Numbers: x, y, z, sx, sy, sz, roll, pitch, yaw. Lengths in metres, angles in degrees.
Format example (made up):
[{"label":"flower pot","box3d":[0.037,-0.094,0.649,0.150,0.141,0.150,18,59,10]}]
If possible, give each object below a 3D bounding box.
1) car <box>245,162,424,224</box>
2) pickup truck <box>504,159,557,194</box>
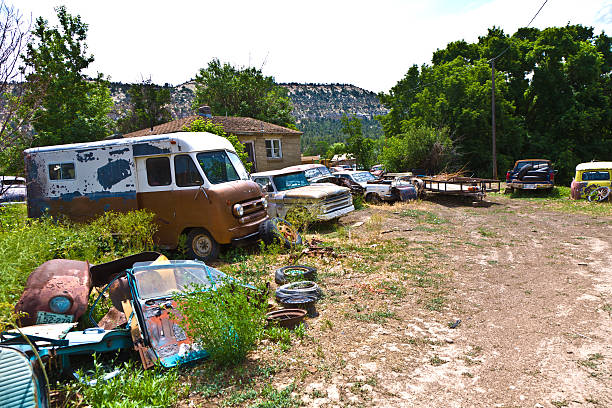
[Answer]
[{"label":"car","box3d":[-0.345,-0.334,17.347,3.261,1.596,2.110,0,12,28]},{"label":"pickup truck","box3d":[12.284,-1.578,24.699,1.603,1.221,2.840,1,10,24]}]
